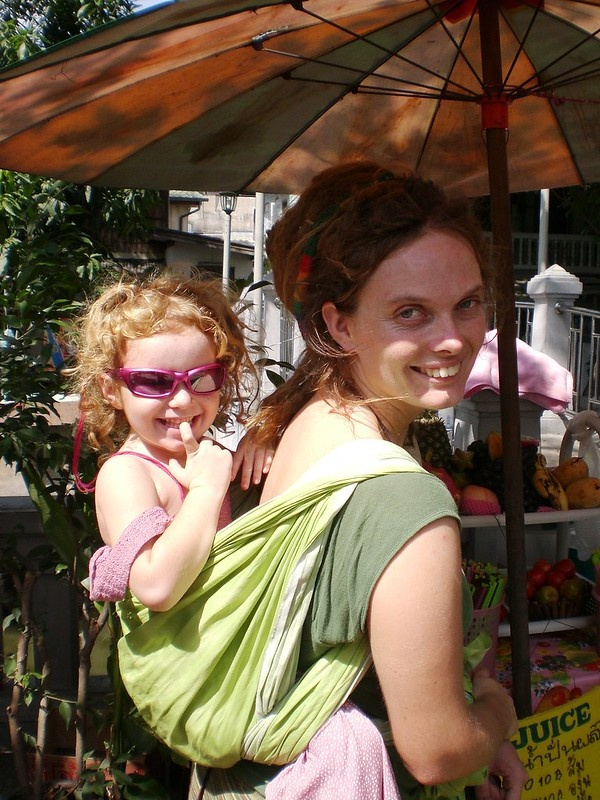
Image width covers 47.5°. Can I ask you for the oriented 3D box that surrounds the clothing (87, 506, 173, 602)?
[{"bbox_3d":[-0.279,0.288,1.249,0.080,0.160,0.122,34,-27,-22],"label":"clothing"}]

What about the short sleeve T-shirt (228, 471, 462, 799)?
[{"bbox_3d":[0.051,0.325,1.147,0.297,0.486,0.407,5,-3,-26],"label":"short sleeve T-shirt"}]
